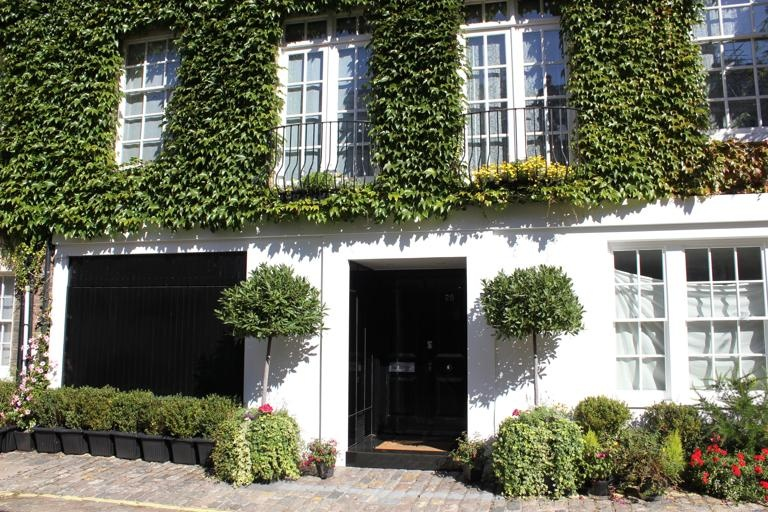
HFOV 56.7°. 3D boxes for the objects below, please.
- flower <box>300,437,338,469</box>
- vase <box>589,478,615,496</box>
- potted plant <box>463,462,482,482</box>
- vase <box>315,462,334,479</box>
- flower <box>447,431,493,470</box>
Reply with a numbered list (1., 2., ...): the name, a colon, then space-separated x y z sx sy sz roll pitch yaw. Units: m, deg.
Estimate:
1. flower: -1.052 3.281 11.902 0.459 0.352 0.466 6 -6 -7
2. vase: 3.336 3.553 10.955 0.247 0.197 0.255 1 -17 0
3. potted plant: 1.411 3.483 11.411 0.247 0.253 0.296 -7 -10 41
4. vase: -0.986 3.522 11.709 0.253 0.201 0.252 0 -7 20
5. flower: 1.381 3.177 11.628 0.579 0.499 0.656 0 -4 17
